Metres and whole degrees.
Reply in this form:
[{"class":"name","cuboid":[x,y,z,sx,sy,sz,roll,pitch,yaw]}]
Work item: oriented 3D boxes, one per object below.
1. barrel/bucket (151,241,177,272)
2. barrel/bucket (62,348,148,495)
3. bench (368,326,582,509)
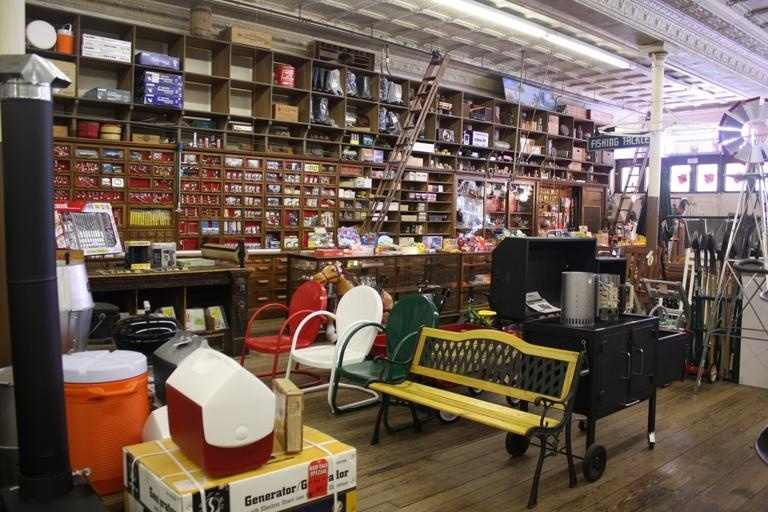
[{"class":"barrel/bucket","cuboid":[-2.540,-0.016,6.241,0.311,0.307,0.237,2,-1,-42]},{"class":"barrel/bucket","cuboid":[-1.635,0.921,3.510,0.717,0.703,0.767,0,2,0]},{"class":"bench","cuboid":[0.723,1.265,4.288,0.494,0.717,1.218,4,-1,-40]}]
